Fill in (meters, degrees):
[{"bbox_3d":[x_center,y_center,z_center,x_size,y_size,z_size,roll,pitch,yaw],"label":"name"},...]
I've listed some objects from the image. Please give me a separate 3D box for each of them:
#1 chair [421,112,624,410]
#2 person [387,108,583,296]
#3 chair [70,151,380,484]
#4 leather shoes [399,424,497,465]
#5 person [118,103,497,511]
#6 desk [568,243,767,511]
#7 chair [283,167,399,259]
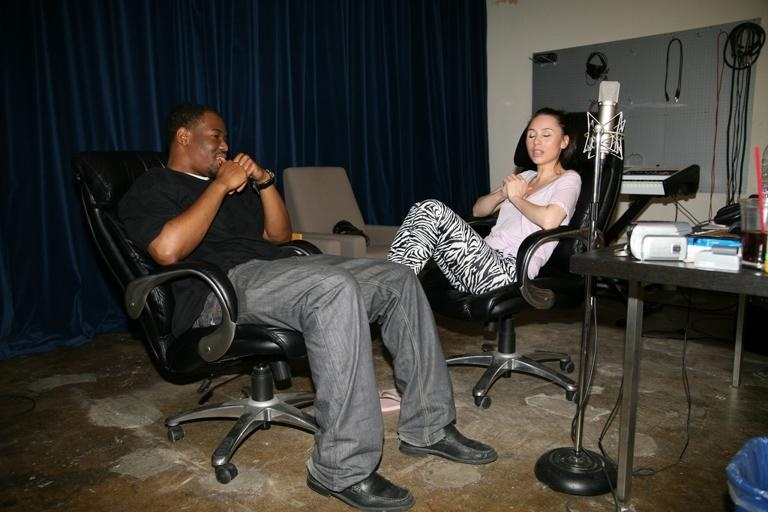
[{"bbox_3d":[0.751,-0.001,3.091,1.018,1.481,0.908,-12,15,-33],"label":"chair"},{"bbox_3d":[0.543,-0.307,2.997,1.224,1.079,0.677,2,8,-24],"label":"person"},{"bbox_3d":[-0.794,0.220,2.682,1.115,1.402,0.853,-1,7,5],"label":"chair"},{"bbox_3d":[0.314,0.858,2.501,0.481,0.206,0.158,-2,1,11],"label":"leather shoes"},{"bbox_3d":[-0.406,0.140,2.397,1.552,1.612,0.774,11,20,38],"label":"person"},{"bbox_3d":[1.028,0.353,2.363,0.964,0.878,1.216,4,9,33],"label":"desk"},{"bbox_3d":[-0.351,-0.358,3.939,0.789,0.818,0.747,5,14,31],"label":"chair"}]
